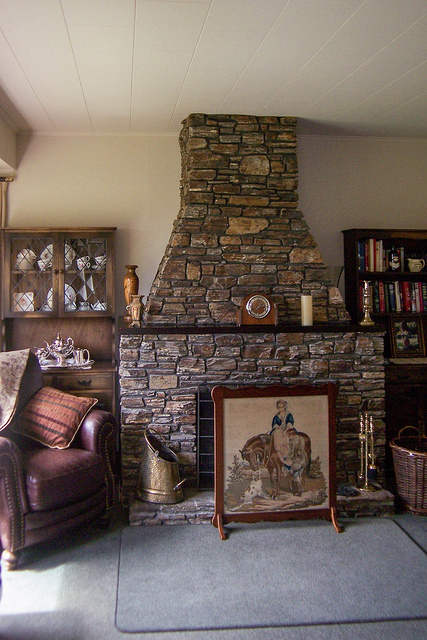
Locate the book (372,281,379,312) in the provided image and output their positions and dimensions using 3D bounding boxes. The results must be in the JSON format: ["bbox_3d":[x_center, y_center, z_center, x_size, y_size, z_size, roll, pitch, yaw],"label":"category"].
[{"bbox_3d":[1.288,-0.187,3.889,0.045,0.238,0.048,1,2,20],"label":"book"}]

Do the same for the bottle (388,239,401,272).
[{"bbox_3d":[1.462,-0.528,3.956,0.090,0.269,0.162,1,2,28],"label":"bottle"}]

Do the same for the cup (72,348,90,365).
[{"bbox_3d":[-0.986,0.286,3.726,0.134,0.132,0.083,0,1,-5],"label":"cup"}]

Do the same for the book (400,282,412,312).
[{"bbox_3d":[1.542,-0.184,3.947,0.069,0.192,0.203,-1,-11,7],"label":"book"}]

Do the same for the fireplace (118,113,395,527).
[{"bbox_3d":[0.174,-0.014,3.830,1.904,2.943,2.012,3,-14,-7],"label":"fireplace"}]

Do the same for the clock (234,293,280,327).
[{"bbox_3d":[0.266,-0.045,3.240,0.378,0.312,0.184,-1,-3,-9],"label":"clock"}]

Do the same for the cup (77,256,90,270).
[{"bbox_3d":[-0.971,-0.434,3.673,0.092,0.071,0.071,-1,0,-29],"label":"cup"}]

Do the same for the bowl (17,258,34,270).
[{"bbox_3d":[-1.370,-0.415,3.598,0.080,0.064,0.085,-1,-3,0],"label":"bowl"}]

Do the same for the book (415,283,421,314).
[{"bbox_3d":[1.648,-0.187,3.956,0.045,0.227,0.021,1,2,17],"label":"book"}]

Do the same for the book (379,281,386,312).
[{"bbox_3d":[1.343,-0.189,3.904,0.057,0.234,0.021,-1,2,-19],"label":"book"}]

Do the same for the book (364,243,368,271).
[{"bbox_3d":[1.198,-0.494,3.850,0.031,0.207,0.014,-1,2,-35],"label":"book"}]

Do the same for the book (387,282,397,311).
[{"bbox_3d":[1.425,-0.183,3.922,0.066,0.197,0.184,-5,7,2],"label":"book"}]
